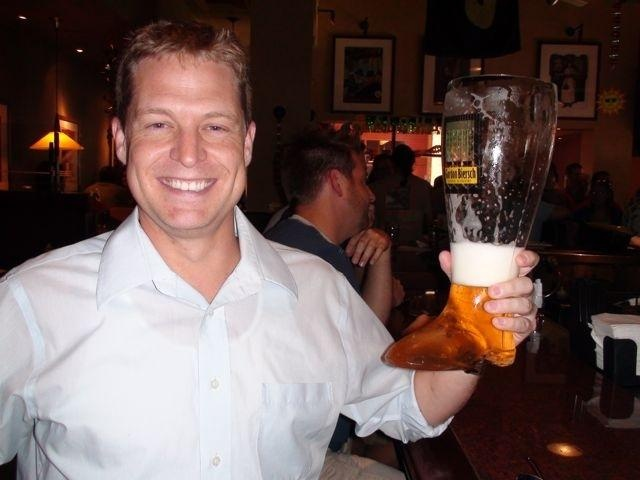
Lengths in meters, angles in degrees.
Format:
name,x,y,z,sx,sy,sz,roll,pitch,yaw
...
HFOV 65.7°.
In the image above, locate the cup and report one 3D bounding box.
name,x,y,z,sx,sy,sz,roll,pitch,yaw
cup,0.289,-0.028,0.954,0.261,0.569,0.203,7,11,20
